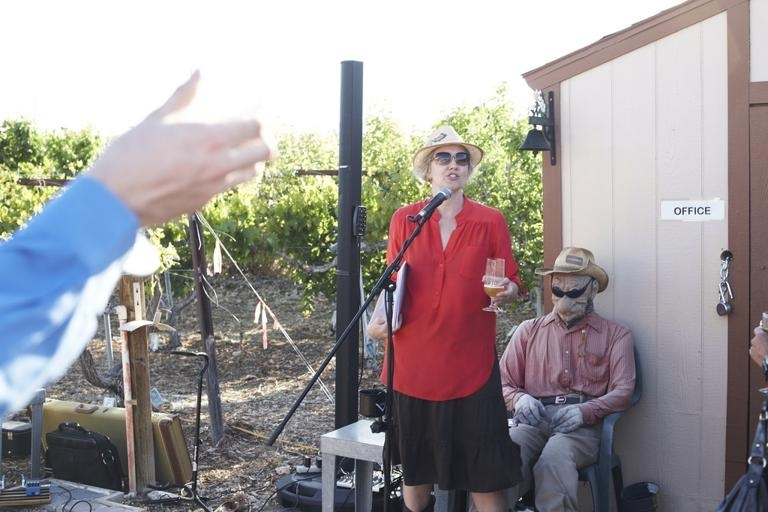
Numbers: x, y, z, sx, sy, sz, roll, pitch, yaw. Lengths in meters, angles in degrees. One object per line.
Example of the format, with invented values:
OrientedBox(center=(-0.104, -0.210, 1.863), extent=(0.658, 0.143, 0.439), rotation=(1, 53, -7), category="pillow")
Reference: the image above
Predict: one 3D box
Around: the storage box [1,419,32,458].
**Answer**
OrientedBox(center=(-4.029, 1.978, 9.891), extent=(0.306, 0.333, 0.459), rotation=(-3, -12, 24), category="storage box")

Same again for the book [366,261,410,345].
OrientedBox(center=(0.018, 0.369, 6.924), extent=(0.139, 0.567, 0.377), rotation=(10, 17, 1), category="book")

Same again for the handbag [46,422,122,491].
OrientedBox(center=(-3.078, 1.920, 8.971), extent=(0.662, 0.845, 0.443), rotation=(8, 21, 6), category="handbag")

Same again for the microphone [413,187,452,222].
OrientedBox(center=(0.356, -0.376, 6.736), extent=(0.131, 0.137, 0.473), rotation=(-14, 21, 43), category="microphone")

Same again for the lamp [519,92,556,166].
OrientedBox(center=(1.386, -1.151, 8.133), extent=(0.342, 0.652, 0.181), rotation=(1, -3, -29), category="lamp")

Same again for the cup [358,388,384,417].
OrientedBox(center=(-0.142, 1.325, 8.261), extent=(0.213, 0.201, 0.217), rotation=(0, -8, 0), category="cup")

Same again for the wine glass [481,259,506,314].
OrientedBox(center=(0.848, 0.207, 6.844), extent=(0.195, 0.406, 0.169), rotation=(-2, -3, 18), category="wine glass")

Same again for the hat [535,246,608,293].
OrientedBox(center=(1.726, 0.063, 8.022), extent=(0.512, 0.325, 0.666), rotation=(6, -5, 35), category="hat")
